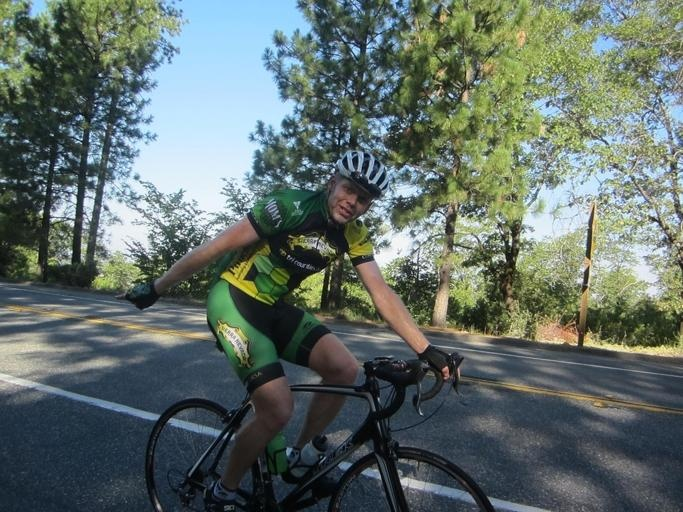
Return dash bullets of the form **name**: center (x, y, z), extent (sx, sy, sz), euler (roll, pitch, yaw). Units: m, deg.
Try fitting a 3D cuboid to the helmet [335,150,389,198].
- **helmet**: center (0.160, -0.799, 4.286), extent (0.307, 0.191, 0.459), euler (16, 24, -40)
